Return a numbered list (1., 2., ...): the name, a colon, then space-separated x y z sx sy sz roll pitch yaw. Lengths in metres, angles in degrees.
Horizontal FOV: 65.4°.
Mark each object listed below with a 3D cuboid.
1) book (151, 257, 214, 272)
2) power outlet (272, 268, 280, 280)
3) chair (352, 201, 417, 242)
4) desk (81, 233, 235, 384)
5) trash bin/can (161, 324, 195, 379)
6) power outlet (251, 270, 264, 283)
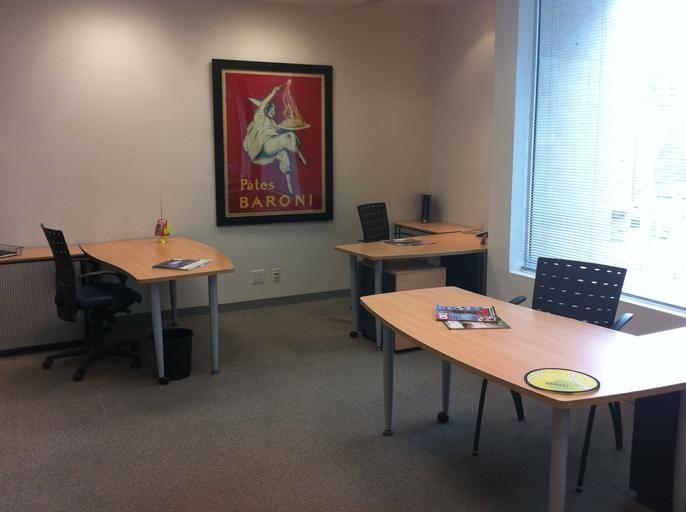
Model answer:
1. book: -1.365 0.067 4.498 0.426 0.021 0.331 3 15 10
2. power outlet: -0.800 0.204 6.262 0.132 0.182 0.035 -3 7 -32
3. chair: 0.445 -0.385 5.959 0.375 0.610 0.411 -7 11 -23
4. desk: -1.544 0.115 4.713 1.136 0.954 1.913 -7 16 -33
5. trash bin/can: -1.396 0.815 4.603 0.364 0.383 0.358 -1 2 -17
6. power outlet: -1.003 0.228 6.178 0.136 0.140 0.019 -2 9 -29
